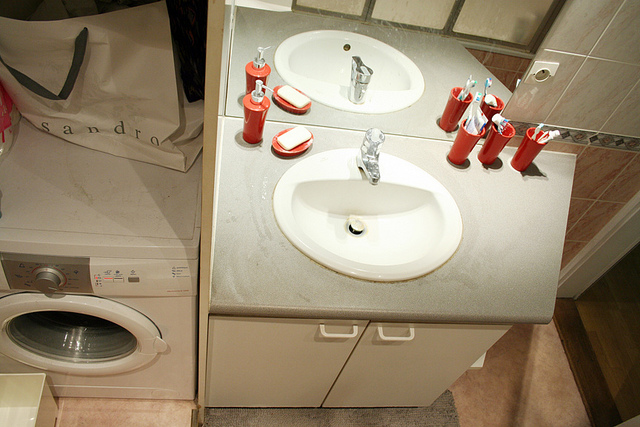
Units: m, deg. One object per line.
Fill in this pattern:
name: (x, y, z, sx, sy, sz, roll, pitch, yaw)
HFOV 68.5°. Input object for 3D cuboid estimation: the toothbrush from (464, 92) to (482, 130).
toothbrush: (0.635, -0.441, 1.994, 0.065, 0.017, 0.190, 27, 76, -26)

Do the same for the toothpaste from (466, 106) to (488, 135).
toothpaste: (0.653, -0.386, 1.967, 0.042, 0.127, 0.077, -23, 67, -27)

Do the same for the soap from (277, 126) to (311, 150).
soap: (-0.108, -0.308, 1.926, 0.129, 0.027, 0.076, -36, 69, -22)

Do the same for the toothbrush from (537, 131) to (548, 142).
toothbrush: (0.933, -0.326, 1.979, 0.016, 0.017, 0.064, 32, 82, 9)

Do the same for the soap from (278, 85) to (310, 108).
soap: (-0.112, -0.486, 1.979, 0.121, 0.025, 0.070, 33, 74, -3)

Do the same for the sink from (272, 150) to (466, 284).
sink: (0.188, 0.012, 1.859, 0.717, 0.232, 0.579, 21, 44, 13)

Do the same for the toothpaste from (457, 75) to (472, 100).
toothpaste: (0.617, -0.529, 1.992, 0.030, 0.121, 0.035, 29, 17, 20)

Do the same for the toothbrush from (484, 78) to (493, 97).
toothbrush: (0.710, -0.534, 1.999, 0.031, 0.073, 0.018, 2, 43, -6)

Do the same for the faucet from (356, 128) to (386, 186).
faucet: (0.197, -0.213, 1.874, 0.130, 0.202, 0.163, 1, 49, -5)

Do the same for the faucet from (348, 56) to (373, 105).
faucet: (0.152, -0.548, 1.984, 0.096, 0.164, 0.149, -8, 59, -11)

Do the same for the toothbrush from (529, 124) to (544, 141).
toothbrush: (0.899, -0.336, 1.963, 0.021, 0.104, 0.028, 28, 28, 14)

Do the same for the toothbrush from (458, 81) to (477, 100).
toothbrush: (0.629, -0.521, 1.989, 0.075, 0.082, 0.022, -17, 48, -25)

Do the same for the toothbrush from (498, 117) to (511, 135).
toothbrush: (0.757, -0.360, 1.954, 0.027, 0.062, 0.050, 36, 50, 27)

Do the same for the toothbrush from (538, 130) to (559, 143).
toothbrush: (0.938, -0.312, 1.938, 0.021, 0.057, 0.078, 18, 92, -11)

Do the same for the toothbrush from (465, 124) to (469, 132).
toothbrush: (0.609, -0.354, 1.952, 0.009, 0.020, 0.006, 23, 45, 16)
